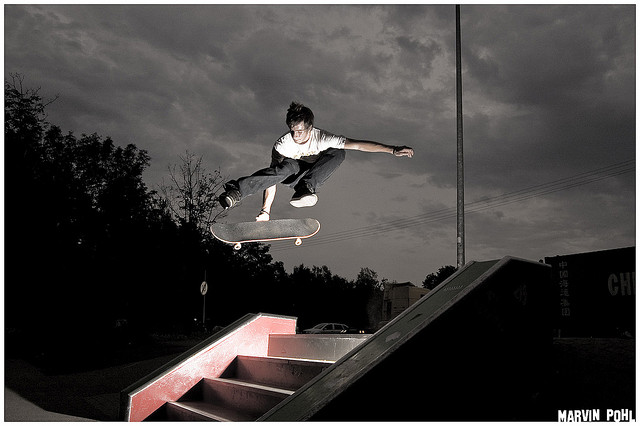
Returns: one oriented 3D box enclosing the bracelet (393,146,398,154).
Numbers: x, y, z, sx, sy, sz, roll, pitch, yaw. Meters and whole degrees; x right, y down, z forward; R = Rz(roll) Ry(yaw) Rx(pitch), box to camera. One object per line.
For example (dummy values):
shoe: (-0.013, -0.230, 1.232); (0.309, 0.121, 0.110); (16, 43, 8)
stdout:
bracelet: (1.596, -1.334, 10.229); (0.045, 0.184, 0.032); (0, 36, -29)
